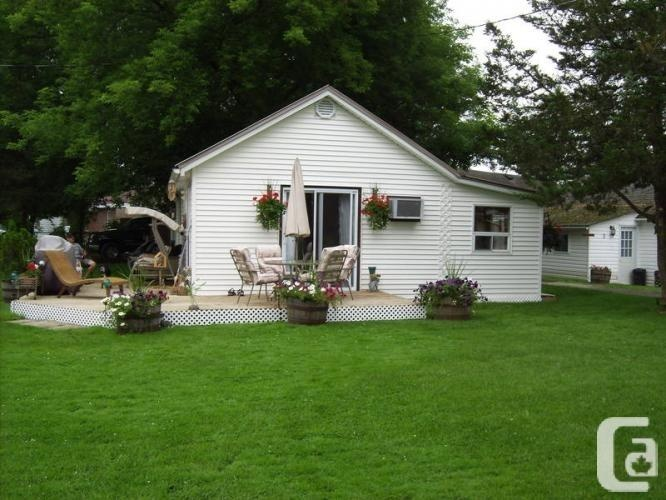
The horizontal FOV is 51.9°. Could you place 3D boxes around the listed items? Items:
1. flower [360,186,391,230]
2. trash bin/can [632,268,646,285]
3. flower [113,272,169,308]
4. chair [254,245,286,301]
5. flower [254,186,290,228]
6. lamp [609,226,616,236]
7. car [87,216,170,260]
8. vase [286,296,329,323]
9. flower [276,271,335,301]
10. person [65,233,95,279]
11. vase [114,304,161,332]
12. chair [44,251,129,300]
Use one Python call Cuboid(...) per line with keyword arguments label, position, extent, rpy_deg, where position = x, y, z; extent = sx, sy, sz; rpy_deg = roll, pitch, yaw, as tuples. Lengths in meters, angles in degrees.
Cuboid(label="flower", position=(1.409, -1.184, 19.648), extent=(0.988, 1.433, 1.036), rpy_deg=(3, 8, 31))
Cuboid(label="trash bin/can", position=(14.604, 1.264, 32.657), extent=(0.637, 0.762, 0.687), rpy_deg=(2, 8, 7))
Cuboid(label="flower", position=(-4.087, 0.890, 14.733), extent=(0.999, 0.601, 0.823), rpy_deg=(-9, 19, 4))
Cuboid(label="chair", position=(-1.551, 0.473, 18.120), extent=(0.784, 1.153, 1.082), rpy_deg=(0, 0, -15))
Cuboid(label="flower", position=(-1.761, -1.155, 18.748), extent=(0.800, 1.070, 0.746), rpy_deg=(-1, -8, -8))
Cuboid(label="lamp", position=(13.209, -0.878, 32.468), extent=(0.334, 0.591, 0.107), rpy_deg=(-3, 9, -29))
Cuboid(label="car", position=(-10.243, -0.656, 35.020), extent=(4.899, 2.342, 2.161), rpy_deg=(-2, 0, -38))
Cuboid(label="vase", position=(-0.588, 1.382, 15.389), extent=(0.650, 0.388, 0.645), rpy_deg=(6, -4, 3))
Cuboid(label="flower", position=(-0.666, 0.886, 15.559), extent=(0.856, 0.455, 0.768), rpy_deg=(1, -2, 24))
Cuboid(label="person", position=(-7.670, 0.226, 20.839), extent=(0.660, 1.553, 0.656), rpy_deg=(-8, 13, 22))
Cuboid(label="vase", position=(-4.058, 1.436, 14.463), extent=(0.589, 0.369, 0.607), rpy_deg=(0, -3, 5))
Cuboid(label="chair", position=(-6.460, 0.638, 17.930), extent=(1.931, 1.149, 0.827), rpy_deg=(0, 1, 14))
